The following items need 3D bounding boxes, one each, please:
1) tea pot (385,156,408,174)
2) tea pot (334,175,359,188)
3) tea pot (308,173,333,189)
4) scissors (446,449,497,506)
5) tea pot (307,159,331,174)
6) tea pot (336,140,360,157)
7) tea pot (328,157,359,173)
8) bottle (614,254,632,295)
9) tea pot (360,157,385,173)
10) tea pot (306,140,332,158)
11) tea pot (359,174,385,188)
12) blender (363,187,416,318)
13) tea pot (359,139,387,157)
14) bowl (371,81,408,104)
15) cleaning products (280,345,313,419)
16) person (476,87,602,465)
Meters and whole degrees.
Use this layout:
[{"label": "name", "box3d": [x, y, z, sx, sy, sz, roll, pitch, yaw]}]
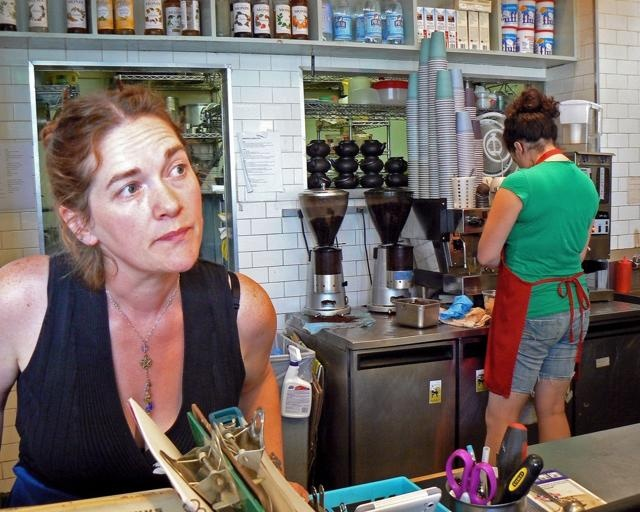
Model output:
[{"label": "tea pot", "box3d": [0.491, -0.590, 3.581, 0.118, 0.080, 0.125, 0, 3, 0]}, {"label": "tea pot", "box3d": [0.164, -0.456, 3.453, 0.097, 0.060, 0.098, -2, 3, 0]}, {"label": "tea pot", "box3d": [-0.017, -0.469, 3.427, 0.143, 0.088, 0.136, 0, 18, 0]}, {"label": "scissors", "box3d": [0.344, 0.482, 1.225, 0.096, 0.091, 0.117, 1, 4, -34]}, {"label": "tea pot", "box3d": [-0.013, -0.563, 3.443, 0.108, 0.067, 0.103, -2, 14, 1]}, {"label": "tea pot", "box3d": [0.170, -0.672, 3.458, 0.161, 0.110, 0.107, -5, 8, -9]}, {"label": "tea pot", "box3d": [0.155, -0.564, 3.484, 0.142, 0.088, 0.106, -3, -1, 3]}, {"label": "bottle", "box3d": [2.104, 0.129, 3.861, 0.099, 0.222, 0.230, 0, 9, 27]}, {"label": "tea pot", "box3d": [0.329, -0.568, 3.487, 0.114, 0.073, 0.112, -2, 4, 0]}, {"label": "tea pot", "box3d": [-0.017, -0.676, 3.477, 0.153, 0.112, 0.089, -5, 8, -9]}, {"label": "tea pot", "box3d": [0.334, -0.481, 3.513, 0.168, 0.095, 0.097, -5, 8, -10]}, {"label": "blender", "box3d": [0.410, -0.042, 3.304, 0.300, 0.731, 0.203, -3, 8, 8]}, {"label": "tea pot", "box3d": [0.327, -0.687, 3.516, 0.143, 0.088, 0.109, 1, 3, 4]}, {"label": "bowl", "box3d": [0.459, -1.091, 3.663, 0.233, 0.185, 0.175, -4, 8, -2]}, {"label": "cleaning products", "box3d": [-0.125, 0.585, 2.646, 0.168, 0.314, 0.155, 1, 10, -14]}, {"label": "person", "box3d": [0.952, 0.062, 2.610, 0.713, 1.704, 0.346, -10, 10, -32]}]
